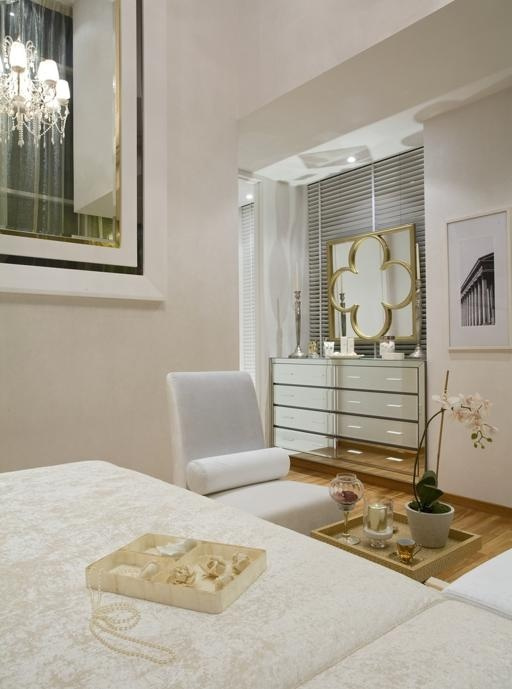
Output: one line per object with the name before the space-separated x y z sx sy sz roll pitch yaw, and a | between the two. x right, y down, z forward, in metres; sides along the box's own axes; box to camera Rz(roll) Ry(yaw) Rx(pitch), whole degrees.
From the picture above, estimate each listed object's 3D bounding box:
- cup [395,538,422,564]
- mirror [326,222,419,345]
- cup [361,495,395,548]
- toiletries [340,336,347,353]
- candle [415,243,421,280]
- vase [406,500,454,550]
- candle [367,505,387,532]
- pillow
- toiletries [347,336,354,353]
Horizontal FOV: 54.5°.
cup | 0.525 0.702 1.701 0.083 0.066 0.060 0 -2 -27
mirror | 1.035 -0.508 4.287 0.053 1.206 1.008 1 -2 -35
cup | 0.443 0.659 1.873 0.135 0.217 0.145 0 -2 0
toiletries | 0.727 0.016 4.115 0.041 0.140 0.078 1 -5 -3
candle | 1.302 -0.653 4.002 0.035 0.314 0.133 0 -5 19
vase | 0.639 0.663 1.808 0.139 0.118 0.145 -1 -3 -3
candle | 0.438 0.628 1.817 0.075 0.094 0.078 0 -6 8
pillow | -0.047 0.485 2.093 0.500 0.163 0.154 -1 3 -38
toiletries | 0.774 0.016 4.075 0.043 0.136 0.043 2 -5 -10
